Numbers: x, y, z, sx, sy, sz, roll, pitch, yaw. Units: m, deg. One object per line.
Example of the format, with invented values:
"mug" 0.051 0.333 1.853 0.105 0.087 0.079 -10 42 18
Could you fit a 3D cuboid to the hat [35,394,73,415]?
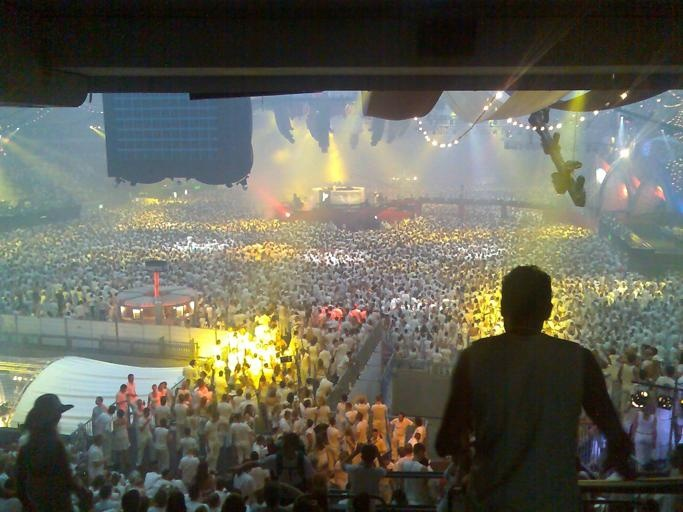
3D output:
"hat" -1.929 1.029 3.899 0.257 0.127 0.171 -5 5 -23
